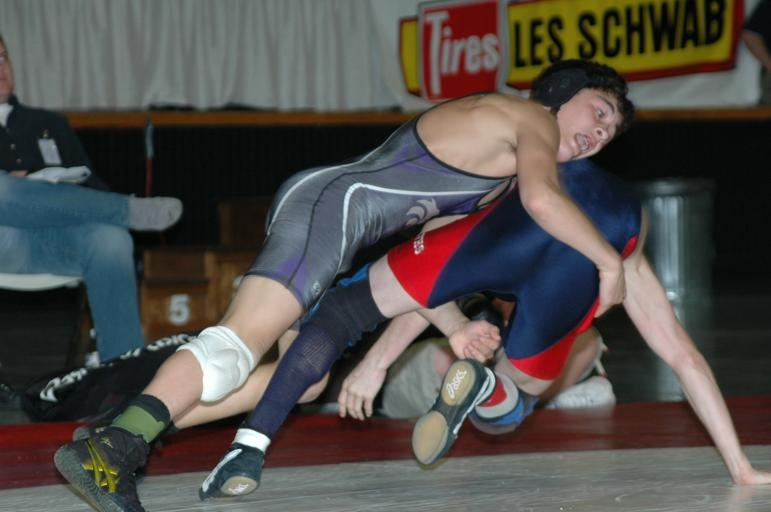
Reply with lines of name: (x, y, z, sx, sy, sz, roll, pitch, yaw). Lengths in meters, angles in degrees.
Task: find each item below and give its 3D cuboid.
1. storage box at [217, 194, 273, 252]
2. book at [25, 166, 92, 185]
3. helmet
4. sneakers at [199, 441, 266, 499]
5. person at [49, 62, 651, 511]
storage box: (-0.977, -0.232, 5.240, 0.443, 0.410, 0.319, 0, -9, -4)
book: (-1.360, -0.335, 3.172, 0.172, 0.062, 0.104, 12, -7, -21)
helmet: (0.665, -0.583, 2.569, 0.203, 0.139, 0.174, 14, 3, 29)
sneakers: (-0.420, 0.609, 2.111, 0.091, 0.117, 0.245, 27, -40, -20)
person: (-0.019, 0.026, 2.282, 1.870, 1.224, 0.636, -6, 16, -25)
